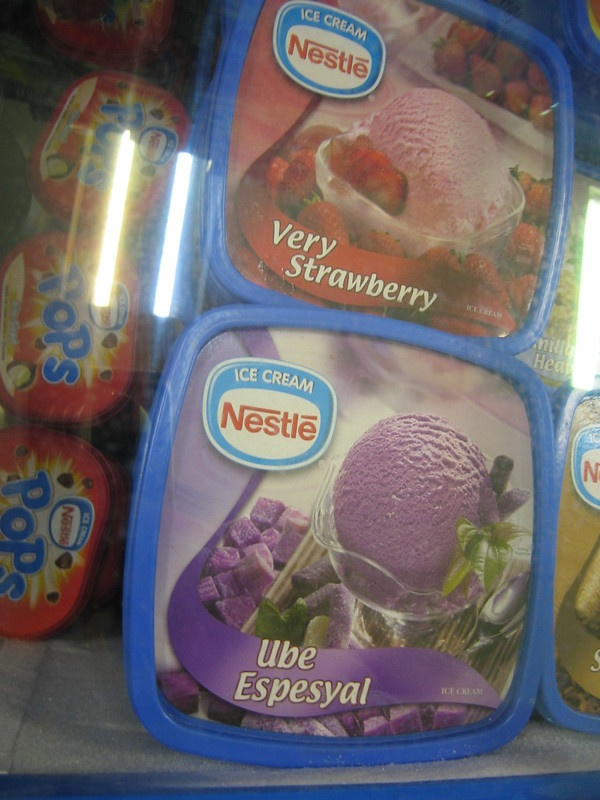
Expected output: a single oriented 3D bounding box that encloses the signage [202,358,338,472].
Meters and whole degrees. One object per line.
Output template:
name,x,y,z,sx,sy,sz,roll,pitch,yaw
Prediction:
signage,-0.058,0.028,1.211,0.172,0.023,0.154,3,84,-14
